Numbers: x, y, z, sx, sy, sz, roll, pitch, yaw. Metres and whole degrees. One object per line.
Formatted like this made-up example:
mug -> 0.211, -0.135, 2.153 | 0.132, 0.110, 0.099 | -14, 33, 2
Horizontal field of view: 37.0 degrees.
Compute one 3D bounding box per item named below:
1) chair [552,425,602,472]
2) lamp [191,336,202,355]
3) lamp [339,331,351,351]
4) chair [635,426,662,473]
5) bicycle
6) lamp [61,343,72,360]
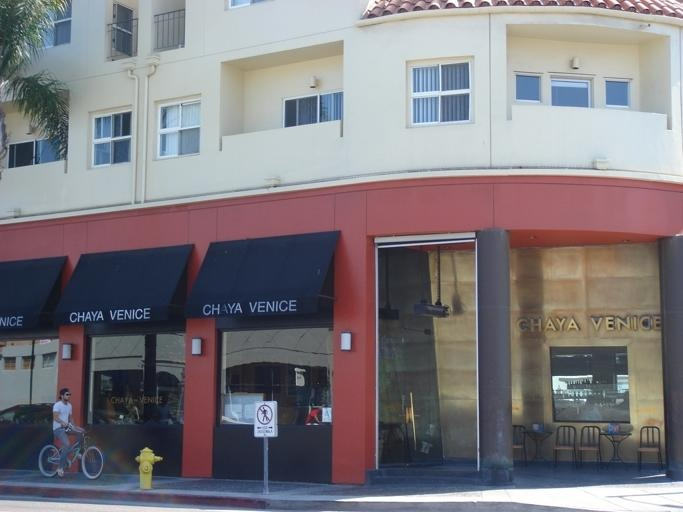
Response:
chair -> 6.608, 5.292, 28.650 | 1.304, 1.146, 0.574 | -3, -9, 14
lamp -> -4.020, 2.454, 28.179 | 0.353, 0.520, 0.157 | -6, -10, 33
lamp -> 0.079, 2.177, 26.510 | 0.328, 0.542, 0.168 | -7, -11, 39
chair -> 8.469, 5.219, 28.102 | 0.680, 1.175, 0.652 | -3, -9, 17
bicycle -> -7.377, 5.385, 27.823 | 2.071, 1.401, 1.196 | -8, -17, 29
lamp -> -8.050, 2.741, 29.779 | 0.378, 0.491, 0.151 | -5, -10, 30
